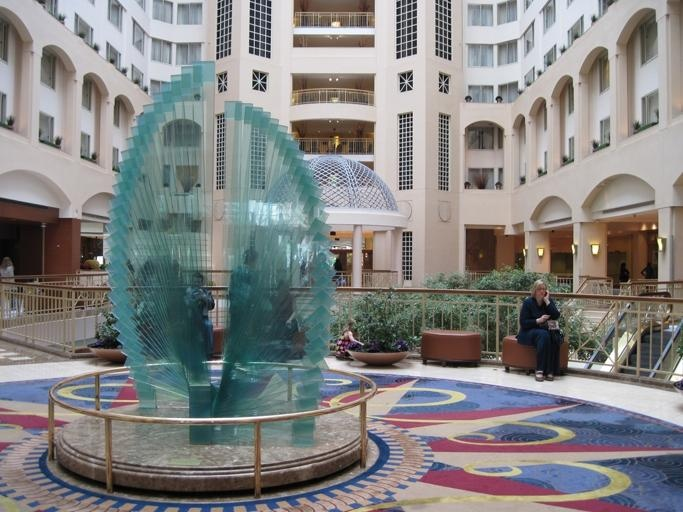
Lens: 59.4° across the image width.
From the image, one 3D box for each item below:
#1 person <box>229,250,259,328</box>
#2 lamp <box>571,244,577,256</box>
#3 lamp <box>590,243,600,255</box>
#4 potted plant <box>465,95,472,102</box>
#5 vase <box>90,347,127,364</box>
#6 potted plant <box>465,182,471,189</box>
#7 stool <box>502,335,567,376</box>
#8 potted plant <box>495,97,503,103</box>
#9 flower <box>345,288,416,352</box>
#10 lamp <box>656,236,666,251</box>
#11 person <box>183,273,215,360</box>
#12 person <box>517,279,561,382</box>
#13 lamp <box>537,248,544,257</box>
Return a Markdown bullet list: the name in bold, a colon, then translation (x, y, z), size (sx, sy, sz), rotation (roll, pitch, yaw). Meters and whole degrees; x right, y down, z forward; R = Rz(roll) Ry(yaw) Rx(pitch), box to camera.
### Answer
- **person**: translation (-1.034, 0.333, 6.329), size (0.284, 0.811, 0.097), rotation (1, 4, -12)
- **lamp**: translation (9.724, -0.247, 24.783), size (0.114, 0.501, 0.432), rotation (3, 5, 8)
- **lamp**: translation (10.327, -0.272, 24.515), size (0.424, 0.531, 0.389), rotation (0, 0, 2)
- **potted plant**: translation (7.082, -8.708, 33.101), size (0.328, 0.371, 0.351), rotation (3, -16, 5)
- **vase**: translation (-4.130, 1.776, 10.649), size (0.761, 0.358, 0.269), rotation (6, 6, 33)
- **potted plant**: translation (6.961, -3.883, 33.028), size (0.331, 0.408, 0.369), rotation (0, -15, 3)
- **stool**: translation (3.190, 1.667, 10.048), size (0.699, 0.566, 0.721), rotation (2, -1, -15)
- **potted plant**: translation (8.741, -8.677, 33.093), size (0.350, 0.455, 0.605), rotation (3, 5, 10)
- **flower**: translation (0.867, 1.239, 11.147), size (1.227, 1.589, 1.021), rotation (0, -5, -9)
- **lamp**: translation (9.852, -0.345, 18.371), size (0.109, 0.452, 0.363), rotation (2, 5, 0)
- **person**: translation (-1.422, 0.612, 6.254), size (0.228, 0.899, 0.349), rotation (4, 5, 31)
- **person**: translation (3.231, 1.199, 9.750), size (0.692, 1.522, 0.582), rotation (4, 5, 24)
- **lamp**: translation (10.004, -0.184, 29.996), size (0.382, 0.484, 0.346), rotation (0, -1, -13)
